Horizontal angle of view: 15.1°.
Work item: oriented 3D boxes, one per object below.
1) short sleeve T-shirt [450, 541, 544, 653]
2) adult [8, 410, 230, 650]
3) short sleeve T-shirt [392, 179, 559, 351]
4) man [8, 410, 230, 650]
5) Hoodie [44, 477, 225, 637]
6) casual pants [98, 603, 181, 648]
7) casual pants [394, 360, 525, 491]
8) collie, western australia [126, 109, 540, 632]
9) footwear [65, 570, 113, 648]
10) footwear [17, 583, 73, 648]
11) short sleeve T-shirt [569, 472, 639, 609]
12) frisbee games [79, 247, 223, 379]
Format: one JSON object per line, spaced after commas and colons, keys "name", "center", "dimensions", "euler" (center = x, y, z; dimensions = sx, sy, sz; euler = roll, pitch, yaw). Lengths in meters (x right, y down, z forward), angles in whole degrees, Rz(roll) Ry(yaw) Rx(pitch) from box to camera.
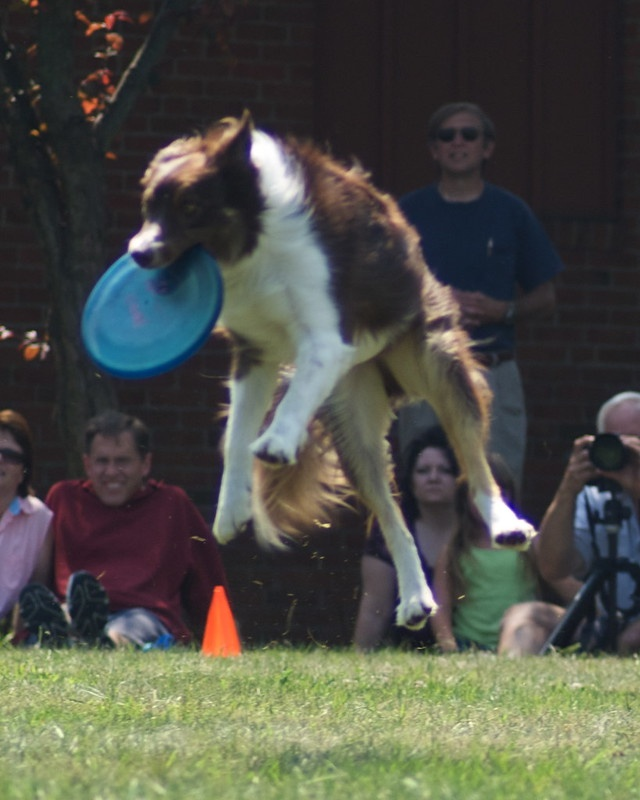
{"name": "short sleeve T-shirt", "center": [0.672, 0.697, 8.899], "dimensions": [0.385, 0.455, 0.269], "euler": [-3, 24, 8]}
{"name": "adult", "center": [-0.707, 0.500, 9.057], "dimensions": [0.869, 0.956, 0.822], "euler": [0, -13, 1]}
{"name": "short sleeve T-shirt", "center": [0.542, -0.478, 8.607], "dimensions": [0.797, 0.620, 0.289], "euler": [-3, -2, -24]}
{"name": "man", "center": [-0.696, 0.533, 9.102], "dimensions": [0.869, 0.956, 0.822], "euler": [0, -13, 1]}
{"name": "Hoodie", "center": [-0.738, 0.562, 9.139], "dimensions": [0.765, 0.527, 0.361], "euler": [5, 13, 9]}
{"name": "casual pants", "center": [-0.644, 0.823, 8.731], "dimensions": [0.211, 0.118, 0.082], "euler": [4, -23, -45]}
{"name": "casual pants", "center": [0.483, 0.085, 8.205], "dimensions": [0.118, 0.461, 0.281], "euler": [-6, 7, -29]}
{"name": "collie, western australia", "center": [0.058, -0.070, 7.291], "dimensions": [1.002, 1.572, 0.929], "euler": [5, 7, 32]}
{"name": "footwear", "center": [-0.823, 0.738, 8.737], "dimensions": [0.111, 0.311, 0.127], "euler": [-8, 8, -17]}
{"name": "footwear", "center": [-0.988, 0.770, 8.667], "dimensions": [0.114, 0.299, 0.120], "euler": [-19, 13, -12]}
{"name": "short sleeve T-shirt", "center": [1.034, 0.514, 8.605], "dimensions": [0.294, 0.386, 0.127], "euler": [7, 0, 30]}
{"name": "frisbee games", "center": [-0.508, -0.262, 7.262], "dimensions": [0.229, 0.404, 0.506], "euler": [-3, 7, -34]}
